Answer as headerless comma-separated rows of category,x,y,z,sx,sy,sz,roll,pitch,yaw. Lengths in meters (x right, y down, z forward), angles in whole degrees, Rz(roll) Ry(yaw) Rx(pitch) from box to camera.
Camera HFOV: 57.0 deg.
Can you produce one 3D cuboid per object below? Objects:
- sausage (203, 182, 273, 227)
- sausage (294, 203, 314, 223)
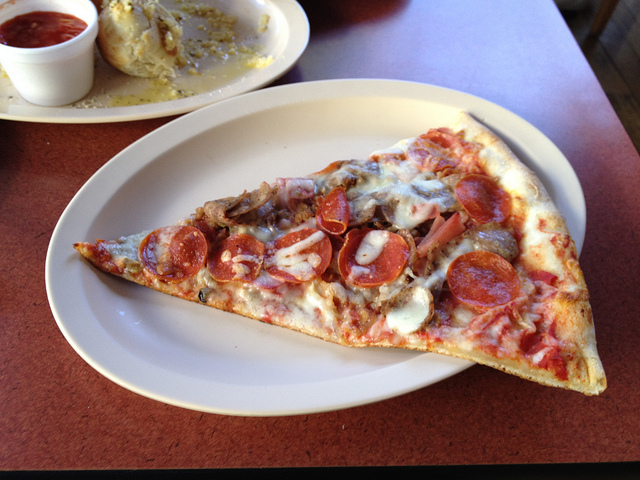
sausage,-0.284,-0.108,2.068,0.157,0.090,0.203,26,55,19
sausage,-0.057,-0.095,2.074,0.057,0.018,0.060,15,63,26
